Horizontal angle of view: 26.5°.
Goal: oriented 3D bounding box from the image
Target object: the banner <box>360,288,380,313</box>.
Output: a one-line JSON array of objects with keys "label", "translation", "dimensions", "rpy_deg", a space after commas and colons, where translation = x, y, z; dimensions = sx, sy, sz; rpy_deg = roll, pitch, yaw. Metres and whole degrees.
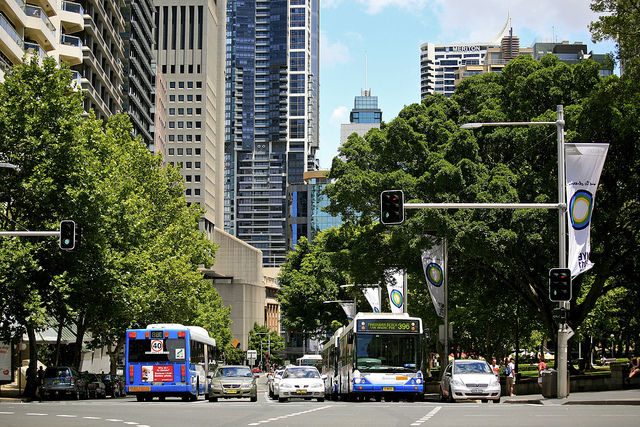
[{"label": "banner", "translation": [4.250, 7.091, 109.410], "dimensions": [1.336, 1.926, 1.047], "rpy_deg": [0, -11, -4]}]

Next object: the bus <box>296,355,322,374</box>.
[{"label": "bus", "translation": [-0.707, 12.267, 110.501], "dimensions": [1.980, 2.094, 6.814], "rpy_deg": [0, -11, -2]}]

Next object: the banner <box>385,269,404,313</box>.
[{"label": "banner", "translation": [5.797, 6.142, 103.106], "dimensions": [1.585, 4.776, 0.188], "rpy_deg": [6, 34, 14]}]
